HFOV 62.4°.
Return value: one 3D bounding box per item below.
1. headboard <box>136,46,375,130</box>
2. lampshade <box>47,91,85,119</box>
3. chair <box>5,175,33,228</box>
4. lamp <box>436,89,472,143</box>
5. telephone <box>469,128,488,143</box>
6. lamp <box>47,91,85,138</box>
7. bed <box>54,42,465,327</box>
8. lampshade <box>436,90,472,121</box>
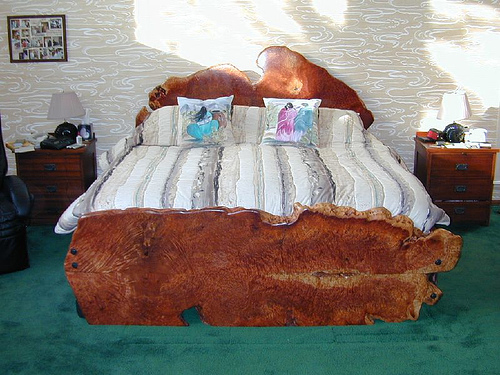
[{"bbox_3d":[0.033,-0.960,3.866,1.968,0.824,0.134,-1,4,-2],"label":"headboard"},{"bbox_3d":[-1.699,-0.774,3.957,0.338,0.255,0.293,-4,5,-3],"label":"lampshade"},{"bbox_3d":[-1.737,0.071,3.109,0.155,0.360,0.298,-14,-15,-14],"label":"chair"},{"bbox_3d":[1.979,-0.671,3.939,0.366,0.513,0.366,-19,21,-41],"label":"lamp"},{"bbox_3d":[2.081,-0.481,3.759,0.136,0.123,0.116,5,15,23],"label":"telephone"},{"bbox_3d":[-1.784,-0.663,3.985,0.394,0.471,0.341,-9,16,-36],"label":"lamp"},{"bbox_3d":[0.086,0.193,3.402,2.850,1.026,2.118,1,35,1],"label":"bed"},{"bbox_3d":[1.867,-0.763,3.848,0.340,0.267,0.295,0,22,10],"label":"lampshade"}]
